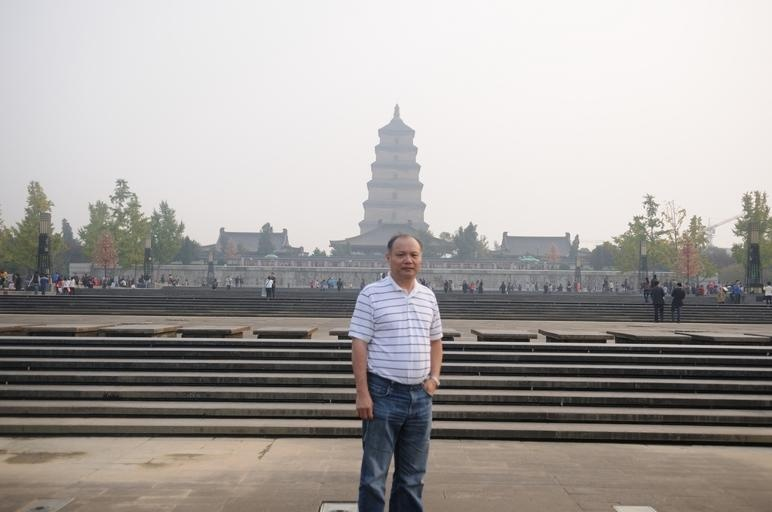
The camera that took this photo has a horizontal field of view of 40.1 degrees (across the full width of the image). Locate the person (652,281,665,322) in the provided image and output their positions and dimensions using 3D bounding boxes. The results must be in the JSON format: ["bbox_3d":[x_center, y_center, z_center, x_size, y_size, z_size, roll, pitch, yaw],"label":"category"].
[{"bbox_3d":[8.362,1.405,32.641,0.340,1.087,1.538,-2,-4,13],"label":"person"}]
